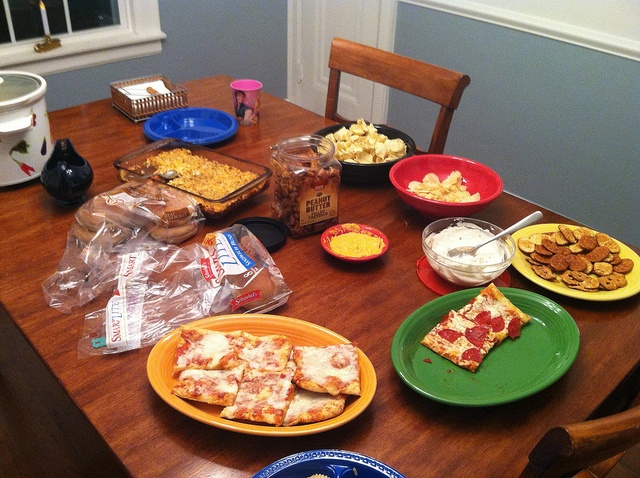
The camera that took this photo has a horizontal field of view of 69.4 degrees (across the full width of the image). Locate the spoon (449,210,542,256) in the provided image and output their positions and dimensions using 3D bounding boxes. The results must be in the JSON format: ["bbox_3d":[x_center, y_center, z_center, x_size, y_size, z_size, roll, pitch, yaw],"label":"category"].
[{"bbox_3d":[0.460,-0.011,1.222,0.214,0.032,0.043,-22,51,-3],"label":"spoon"}]

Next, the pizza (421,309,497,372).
[{"bbox_3d":[0.296,0.225,1.058,0.172,0.086,0.149,-11,24,-28],"label":"pizza"}]

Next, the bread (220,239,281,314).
[{"bbox_3d":[-0.173,0.065,1.116,0.141,0.096,0.230,-16,46,-18],"label":"bread"}]

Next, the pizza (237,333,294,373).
[{"bbox_3d":[-0.107,0.229,0.927,0.065,0.019,0.069,4,33,5],"label":"pizza"}]

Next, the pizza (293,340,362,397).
[{"bbox_3d":[0.010,0.248,0.887,0.089,0.029,0.091,1,27,-2],"label":"pizza"}]

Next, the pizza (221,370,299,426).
[{"bbox_3d":[-0.112,0.286,0.860,0.121,0.023,0.110,6,43,5],"label":"pizza"}]

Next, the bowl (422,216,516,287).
[{"bbox_3d":[0.373,0.028,1.171,0.187,0.094,0.191,2,36,-1],"label":"bowl"}]

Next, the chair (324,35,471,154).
[{"bbox_3d":[0.335,-0.466,1.846,0.443,0.585,0.456,-22,36,-38],"label":"chair"}]

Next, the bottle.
[{"bbox_3d":[-0.048,-0.160,1.311,0.182,0.287,0.157,-7,37,-13],"label":"bottle"}]

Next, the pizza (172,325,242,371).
[{"bbox_3d":[-0.231,0.223,0.925,0.089,0.017,0.090,4,44,-6],"label":"pizza"}]

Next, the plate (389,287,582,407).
[{"bbox_3d":[0.348,0.219,0.983,0.427,0.051,0.278,-16,46,-18],"label":"plate"}]

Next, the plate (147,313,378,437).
[{"bbox_3d":[-0.133,0.253,0.911,0.300,0.042,0.246,10,31,10],"label":"plate"}]

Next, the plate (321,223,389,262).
[{"bbox_3d":[0.086,0.000,1.254,0.182,0.098,0.215,0,25,1],"label":"plate"}]
